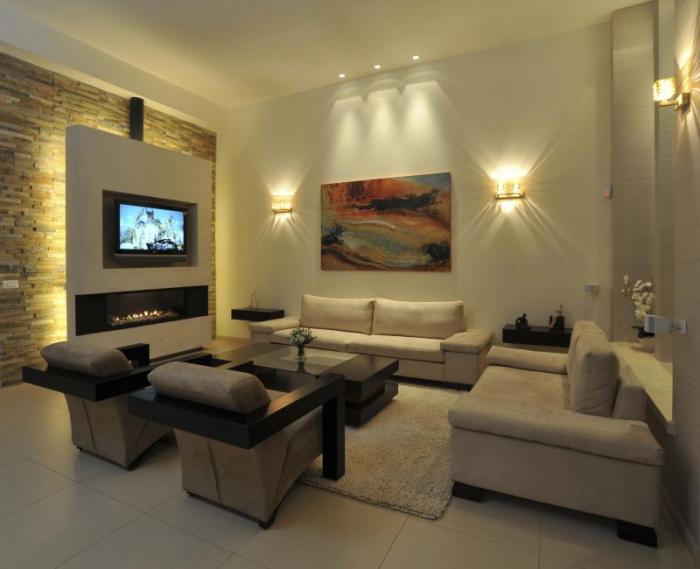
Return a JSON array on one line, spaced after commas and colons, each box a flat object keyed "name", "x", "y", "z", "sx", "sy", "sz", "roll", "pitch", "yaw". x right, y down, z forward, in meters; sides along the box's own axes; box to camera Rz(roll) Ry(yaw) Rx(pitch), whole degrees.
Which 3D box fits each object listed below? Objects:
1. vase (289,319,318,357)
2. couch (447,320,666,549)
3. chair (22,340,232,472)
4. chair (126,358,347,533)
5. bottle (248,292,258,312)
[{"name": "vase", "x": -0.483, "y": 0.546, "z": 5.119, "sx": 0.258, "sy": 0.291, "sz": 0.256, "roll": 0, "pitch": 0, "yaw": 29}, {"name": "couch", "x": 1.476, "y": 0.949, "z": 3.785, "sx": 1.232, "sy": 1.173, "sz": 1.293, "roll": 1, "pitch": 3, "yaw": 19}, {"name": "chair", "x": -1.836, "y": 0.797, "z": 4.000, "sx": 1.049, "sy": 0.718, "sz": 1.078, "roll": 1, "pitch": 2, "yaw": 30}, {"name": "chair", "x": -0.620, "y": 0.911, "z": 3.560, "sx": 0.971, "sy": 1.018, "sz": 1.145, "roll": 0, "pitch": 2, "yaw": 26}, {"name": "bottle", "x": -1.432, "y": 0.250, "z": 7.527, "sx": 0.229, "sy": 0.370, "sz": 0.067, "roll": 3, "pitch": 6, "yaw": 32}]
